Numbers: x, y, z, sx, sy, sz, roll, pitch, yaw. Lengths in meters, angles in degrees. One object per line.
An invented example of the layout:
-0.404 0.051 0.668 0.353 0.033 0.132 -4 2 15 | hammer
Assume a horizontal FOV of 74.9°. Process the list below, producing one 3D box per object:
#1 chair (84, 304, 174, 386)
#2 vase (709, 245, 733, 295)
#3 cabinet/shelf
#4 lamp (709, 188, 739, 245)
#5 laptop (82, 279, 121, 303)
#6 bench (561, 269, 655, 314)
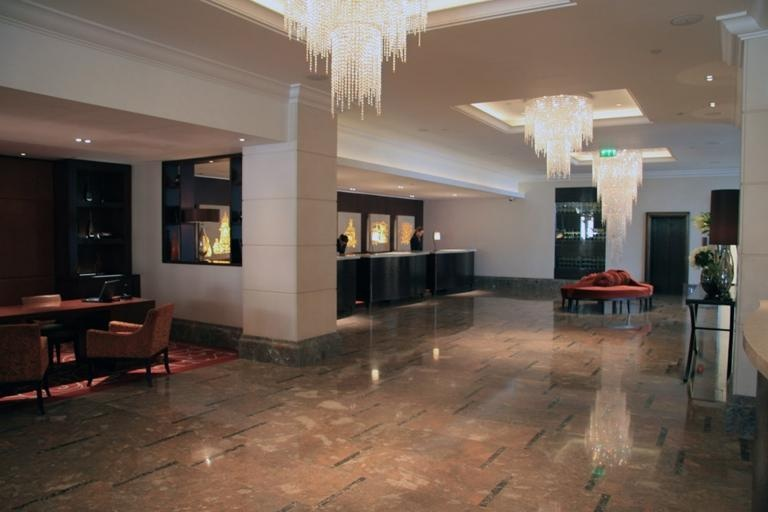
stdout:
-4.017 1.366 8.057 1.342 1.477 1.099 2 -2 -3 | chair
4.824 0.215 7.264 0.349 0.725 0.468 5 8 41 | vase
-5.815 -0.577 10.072 1.392 2.656 0.842 -5 8 -38 | cabinet/shelf
4.752 -0.540 7.019 0.331 0.770 0.316 4 7 32 | lamp
-5.161 0.635 9.093 0.254 0.298 0.361 15 3 4 | laptop
6.022 0.943 13.500 2.240 1.082 1.338 -2 6 -20 | bench
